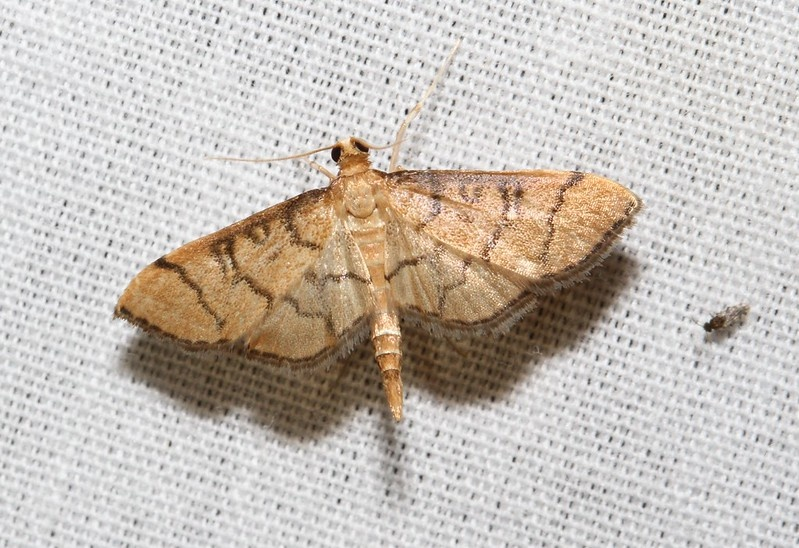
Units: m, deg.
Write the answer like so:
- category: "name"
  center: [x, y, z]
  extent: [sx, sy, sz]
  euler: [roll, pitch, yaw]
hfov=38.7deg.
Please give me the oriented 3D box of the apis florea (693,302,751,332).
- category: "apis florea"
  center: [1.432, 0.193, 4.931]
  extent: [0.154, 0.048, 0.124]
  euler: [-24, 88, 8]
